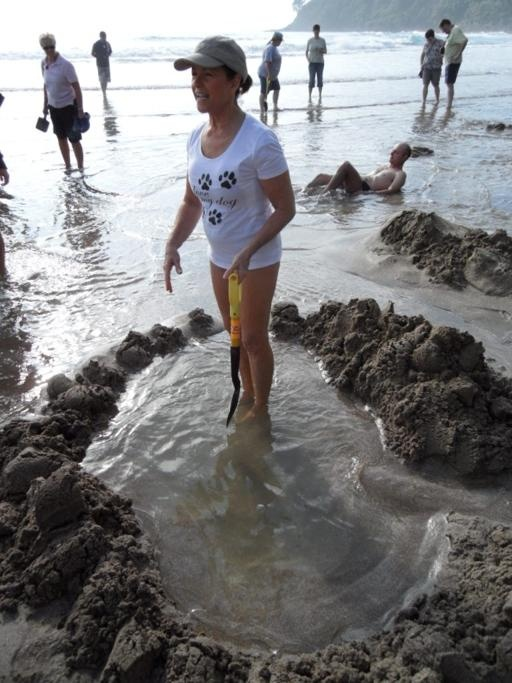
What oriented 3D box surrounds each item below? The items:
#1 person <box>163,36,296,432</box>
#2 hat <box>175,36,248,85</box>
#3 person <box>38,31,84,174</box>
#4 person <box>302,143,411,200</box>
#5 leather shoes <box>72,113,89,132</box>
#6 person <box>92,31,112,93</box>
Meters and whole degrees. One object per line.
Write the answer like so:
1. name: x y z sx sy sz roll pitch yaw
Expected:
1. person: -0.141 -0.424 2.833 0.522 1.920 0.738 -16 25 -29
2. hat: -0.172 -1.192 2.459 0.269 0.134 0.187 6 15 -39
3. person: -2.753 -3.407 8.353 0.468 1.826 0.874 -9 23 -15
4. person: 1.433 -2.345 8.170 1.617 0.896 0.699 -1 36 -9
5. leather shoes: -2.533 -3.192 8.325 0.170 0.129 0.238 -32 -12 -23
6. person: -4.427 -8.126 16.759 0.508 1.524 3.602 -7 22 -11
